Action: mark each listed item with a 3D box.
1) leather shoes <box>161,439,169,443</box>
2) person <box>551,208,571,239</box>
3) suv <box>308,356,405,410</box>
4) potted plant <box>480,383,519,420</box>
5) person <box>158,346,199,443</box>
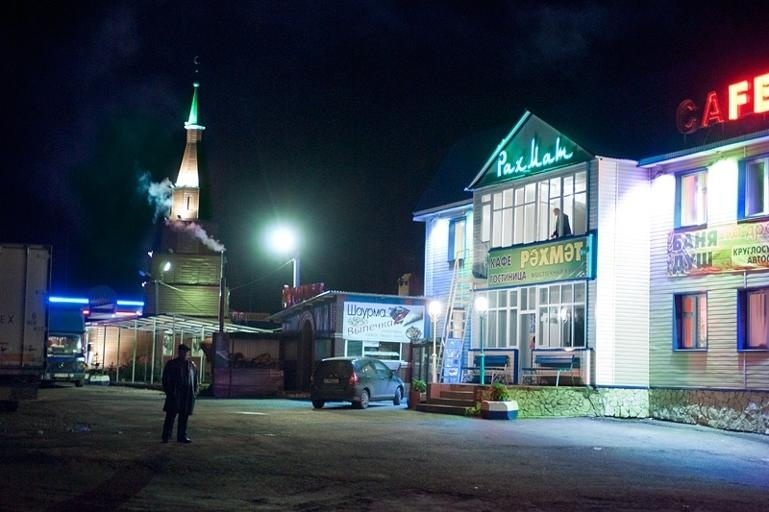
[{"bbox_3d":[-5.629,4.718,18.920,0.187,0.128,0.407,6,-14,-15],"label":"leather shoes"},{"bbox_3d":[7.252,-1.331,30.294,0.278,1.380,0.978,10,-15,-30],"label":"person"},{"bbox_3d":[-0.974,5.245,31.168,1.880,1.458,3.724,-4,-5,37],"label":"suv"},{"bbox_3d":[4.179,5.273,26.725,1.326,1.252,0.704,3,-13,-5],"label":"potted plant"},{"bbox_3d":[-5.414,3.594,19.420,0.884,2.531,1.116,6,-14,-15],"label":"person"}]
